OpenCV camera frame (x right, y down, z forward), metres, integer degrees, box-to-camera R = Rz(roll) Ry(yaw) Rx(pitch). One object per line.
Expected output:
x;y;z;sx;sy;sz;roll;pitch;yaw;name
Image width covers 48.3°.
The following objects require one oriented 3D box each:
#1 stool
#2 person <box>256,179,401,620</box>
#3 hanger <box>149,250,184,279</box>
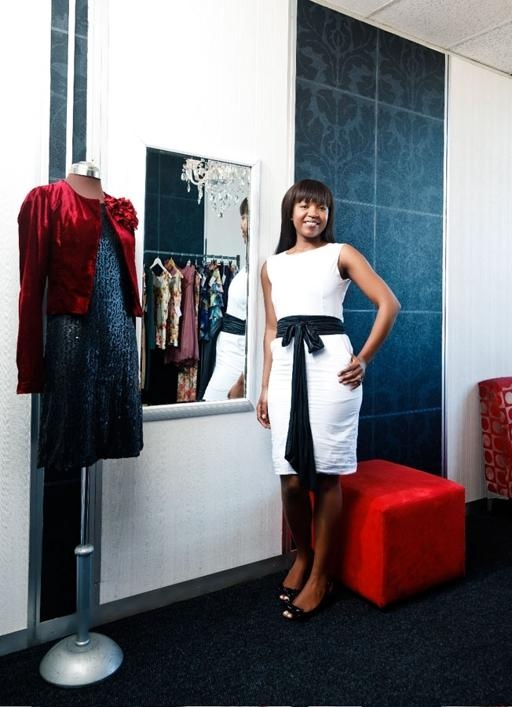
0.542;0.713;2.407;0.615;0.479;0.707;1;8;2;stool
0.249;0.149;2.111;0.529;1.566;0.355;0;0;12;person
-0.319;-0.317;2.038;0.074;0.121;0.083;0;-2;23;hanger
